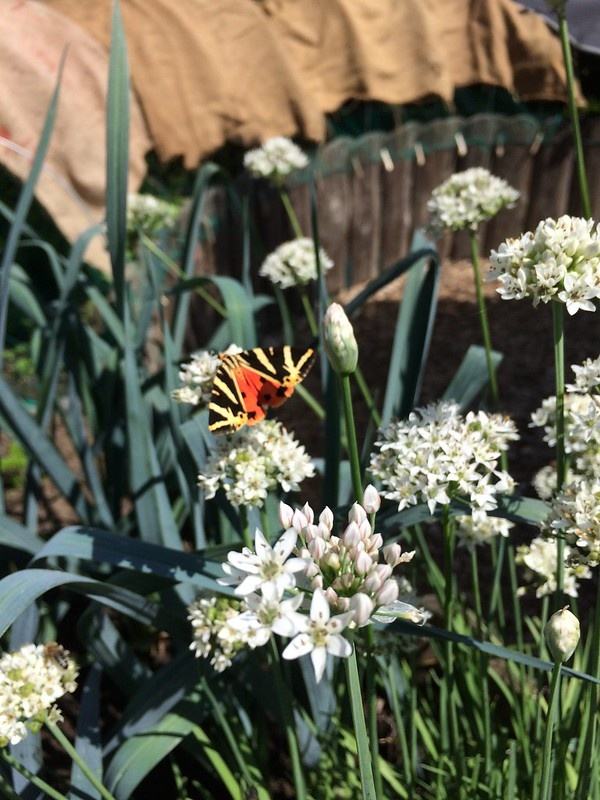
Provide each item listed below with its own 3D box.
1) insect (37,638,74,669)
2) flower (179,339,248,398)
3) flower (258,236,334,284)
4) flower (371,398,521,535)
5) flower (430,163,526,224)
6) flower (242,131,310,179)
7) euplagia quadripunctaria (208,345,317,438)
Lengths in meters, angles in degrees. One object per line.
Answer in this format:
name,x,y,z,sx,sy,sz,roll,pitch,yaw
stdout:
insect,-0.602,0.627,3.044,0.033,0.072,0.073,-21,21,46
flower,-0.240,-0.048,3.230,0.138,0.048,0.158,-5,60,26
flower,-0.013,-0.454,3.958,0.169,0.150,0.170,-32,21,-13
flower,0.354,0.189,3.025,0.277,0.186,0.304,-20,44,5
flower,0.522,-0.620,3.780,0.254,0.151,0.224,-33,31,-31
flower,-0.078,-0.764,3.870,0.187,0.124,0.192,-15,26,4
euplagia quadripunctaria,-0.105,-0.002,3.314,0.353,0.206,0.084,-39,-5,-37
